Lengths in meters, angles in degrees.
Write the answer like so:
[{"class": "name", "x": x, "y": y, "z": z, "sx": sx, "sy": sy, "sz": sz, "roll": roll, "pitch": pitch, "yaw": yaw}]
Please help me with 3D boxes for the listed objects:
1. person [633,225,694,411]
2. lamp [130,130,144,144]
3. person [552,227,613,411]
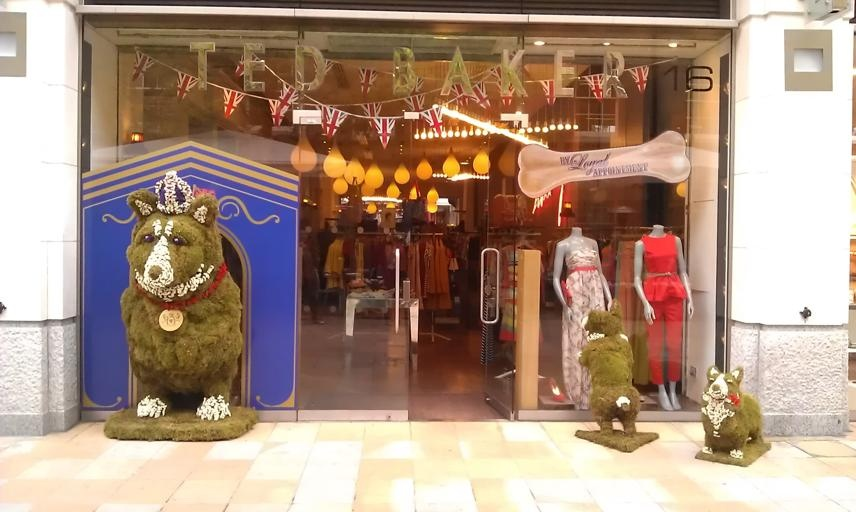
[{"class": "person", "x": 2.649, "y": 0.679, "z": 7.938, "sx": 0.640, "sy": 2.068, "sz": 0.216, "roll": -2, "pitch": -1, "yaw": 10}, {"class": "lamp", "x": -3.203, "y": -1.299, "z": 7.795, "sx": 0.138, "sy": 0.138, "sz": 0.134, "roll": 1, "pitch": 2, "yaw": 1}, {"class": "person", "x": 1.662, "y": 0.687, "z": 7.896, "sx": 0.518, "sy": 2.007, "sz": 0.151, "roll": -2, "pitch": -1, "yaw": 10}]
